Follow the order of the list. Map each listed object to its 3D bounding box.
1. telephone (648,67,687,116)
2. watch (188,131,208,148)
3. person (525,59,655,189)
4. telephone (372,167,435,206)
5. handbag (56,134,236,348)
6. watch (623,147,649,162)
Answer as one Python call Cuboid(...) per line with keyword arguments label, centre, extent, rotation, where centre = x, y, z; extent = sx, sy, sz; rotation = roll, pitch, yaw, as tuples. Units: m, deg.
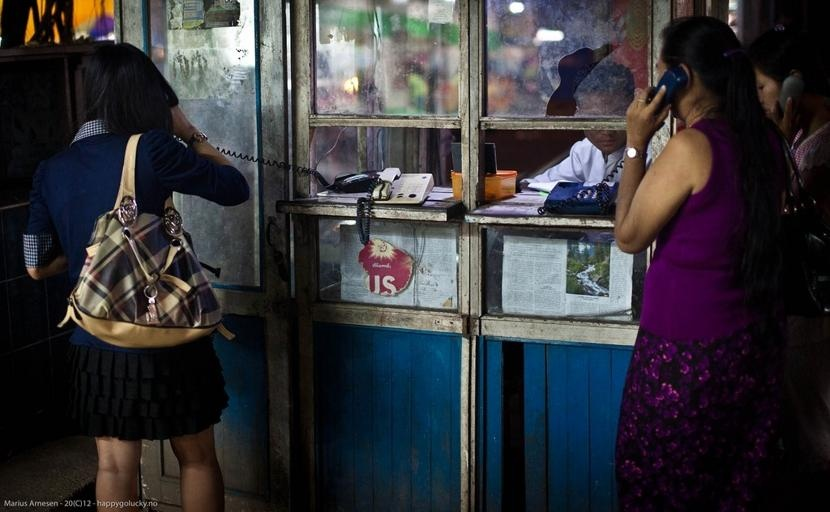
Cuboid(label="telephone", centre=(1.042, -0.684, 3.170), extent=(0.101, 0.055, 0.199), rotation=(-8, -23, -35))
Cuboid(label="watch", centre=(-1.027, -0.551, 3.732), extent=(0.080, 0.089, 0.054), rotation=(-18, -38, 25))
Cuboid(label="person", centre=(1.195, -0.690, 5.312), extent=(0.786, 0.561, 0.424), rotation=(-20, 23, -32))
Cuboid(label="telephone", centre=(-0.022, -0.340, 3.927), extent=(0.175, 0.054, 0.211), rotation=(-2, 39, 11))
Cuboid(label="handbag", centre=(-1.198, -0.084, 3.528), extent=(0.414, 1.027, 0.768), rotation=(-2, -5, 42))
Cuboid(label="watch", centre=(0.908, -0.419, 3.245), extent=(0.082, 0.059, 0.078), rotation=(3, 2, 25))
